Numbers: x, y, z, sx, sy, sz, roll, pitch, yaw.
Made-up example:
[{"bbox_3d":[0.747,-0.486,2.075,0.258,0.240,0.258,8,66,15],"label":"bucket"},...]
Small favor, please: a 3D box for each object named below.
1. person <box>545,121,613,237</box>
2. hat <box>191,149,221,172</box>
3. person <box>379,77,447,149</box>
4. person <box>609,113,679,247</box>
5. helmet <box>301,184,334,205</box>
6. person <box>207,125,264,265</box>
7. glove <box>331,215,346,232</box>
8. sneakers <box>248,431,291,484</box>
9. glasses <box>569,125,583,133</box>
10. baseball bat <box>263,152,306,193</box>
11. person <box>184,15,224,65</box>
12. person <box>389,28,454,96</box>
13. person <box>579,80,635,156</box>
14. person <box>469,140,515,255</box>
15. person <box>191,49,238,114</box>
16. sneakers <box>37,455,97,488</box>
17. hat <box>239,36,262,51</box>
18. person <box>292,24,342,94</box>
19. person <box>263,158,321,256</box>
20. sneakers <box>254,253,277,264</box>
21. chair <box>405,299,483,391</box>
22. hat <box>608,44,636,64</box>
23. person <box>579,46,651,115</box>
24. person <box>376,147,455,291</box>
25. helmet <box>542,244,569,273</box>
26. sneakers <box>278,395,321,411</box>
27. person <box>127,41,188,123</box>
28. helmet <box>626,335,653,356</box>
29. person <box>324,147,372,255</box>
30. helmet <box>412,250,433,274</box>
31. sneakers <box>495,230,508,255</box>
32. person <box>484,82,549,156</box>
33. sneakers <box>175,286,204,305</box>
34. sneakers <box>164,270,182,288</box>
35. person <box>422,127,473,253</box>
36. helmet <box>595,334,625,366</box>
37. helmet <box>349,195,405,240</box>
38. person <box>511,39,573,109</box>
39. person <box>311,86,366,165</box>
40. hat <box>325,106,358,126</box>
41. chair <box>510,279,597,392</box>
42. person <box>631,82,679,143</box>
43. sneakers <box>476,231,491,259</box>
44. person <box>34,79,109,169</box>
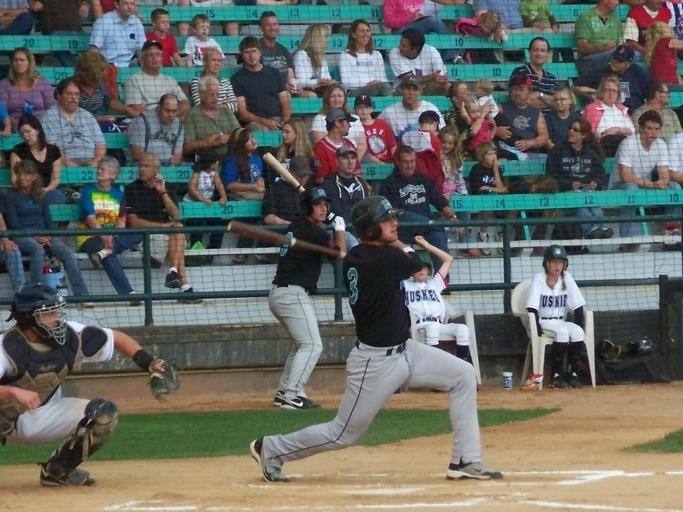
[{"bbox_3d":[3.200,-1.057,26.854,0.812,1.197,0.897,-2,-1,1],"label":"person"},{"bbox_3d":[-1.801,-1.284,26.318,0.310,0.298,0.248,-6,7,4],"label":"hat"},{"bbox_3d":[0.921,-1.951,27.349,1.103,1.045,0.562,-2,4,1],"label":"person"},{"bbox_3d":[4.130,-1.464,27.240,0.941,1.184,0.375,-2,-1,2],"label":"person"},{"bbox_3d":[-0.301,-0.743,23.939,0.301,0.151,0.217,-19,-8,33],"label":"helmet"},{"bbox_3d":[-1.173,-0.854,26.410,0.717,1.717,0.728,-5,0,28],"label":"person"},{"bbox_3d":[-0.025,-0.394,24.706,0.075,0.172,0.170,0,15,-39],"label":"glove"},{"bbox_3d":[-0.782,2.361,21.728,0.295,0.703,0.237,-24,9,17],"label":"sneakers"},{"bbox_3d":[3.197,-1.764,27.077,0.099,0.104,0.033,1,6,22],"label":"glasses"},{"bbox_3d":[-0.737,-1.070,25.518,0.833,0.116,0.122,43,-2,-5],"label":"baseball bat"},{"bbox_3d":[-1.919,-2.995,27.567,0.556,0.797,0.514,0,15,-6],"label":"person"},{"bbox_3d":[1.070,-2.772,28.101,0.996,1.083,0.863,-4,19,-7],"label":"person"},{"bbox_3d":[3.800,-1.856,27.648,0.757,1.369,0.762,1,-4,-18],"label":"person"},{"bbox_3d":[2.062,-0.860,27.046,0.761,1.409,0.532,7,-11,0],"label":"person"},{"bbox_3d":[-1.715,-2.408,26.805,0.642,0.914,0.557,-6,8,-33],"label":"person"},{"bbox_3d":[-2.986,2.413,21.533,0.540,0.266,0.296,-2,-5,3],"label":"sneakers"},{"bbox_3d":[-1.249,-2.933,27.000,0.193,0.195,0.241,-2,-5,-2],"label":"hat"},{"bbox_3d":[-0.343,-2.738,27.721,0.705,1.103,0.765,9,11,-2],"label":"person"},{"bbox_3d":[-0.604,-0.824,25.937,0.846,1.057,0.665,-5,14,-38],"label":"person"},{"bbox_3d":[-0.984,0.041,25.927,0.306,0.219,0.109,5,-2,7],"label":"sneakers"},{"bbox_3d":[1.088,1.205,25.542,1.000,1.274,0.893,-7,-11,44],"label":"chair"},{"bbox_3d":[3.961,-2.900,28.046,0.304,0.177,0.208,2,27,-40],"label":"hat"},{"bbox_3d":[3.918,-2.528,28.141,1.160,0.943,0.609,-2,8,3],"label":"person"},{"bbox_3d":[1.067,-0.582,26.082,1.107,1.857,1.065,-7,1,13],"label":"person"},{"bbox_3d":[2.759,0.019,25.549,0.250,0.302,0.339,0,-3,0],"label":"helmet"},{"bbox_3d":[-0.515,1.822,24.053,0.504,0.217,0.168,1,-3,-5],"label":"sneakers"},{"bbox_3d":[-2.518,-2.428,26.850,0.805,1.077,0.750,2,6,1],"label":"person"},{"bbox_3d":[3.876,1.220,25.781,0.326,0.169,0.117,-2,-1,4],"label":"helmet"},{"bbox_3d":[0.121,-0.721,25.681,0.775,1.518,0.890,0,-12,-11],"label":"person"},{"bbox_3d":[1.053,0.066,25.146,0.238,0.175,0.334,0,1,-4],"label":"helmet"},{"bbox_3d":[2.109,-0.172,26.340,0.103,0.261,0.185,2,-6,0],"label":"sneakers"},{"bbox_3d":[2.458,-1.885,27.631,0.821,1.345,0.828,3,3,-1],"label":"person"},{"bbox_3d":[-1.918,0.534,25.482,0.407,0.280,0.157,1,-1,-3],"label":"sneakers"},{"bbox_3d":[-2.168,0.311,25.555,0.197,0.239,0.075,-2,-1,-8],"label":"sneakers"},{"bbox_3d":[1.563,-0.927,26.702,0.496,1.664,0.652,-7,-5,-10],"label":"person"},{"bbox_3d":[3.460,1.259,25.698,0.343,0.338,0.270,-6,4,19],"label":"helmet"},{"bbox_3d":[0.373,-0.438,21.685,0.605,0.461,0.546,-14,6,-4],"label":"helmet"},{"bbox_3d":[2.791,-2.616,28.053,0.759,1.076,0.636,6,-4,-29],"label":"person"},{"bbox_3d":[-0.074,-1.825,26.837,0.736,1.082,0.644,0,-14,10],"label":"person"},{"bbox_3d":[-0.004,-1.896,26.474,0.344,0.179,0.224,-8,11,-19],"label":"hat"},{"bbox_3d":[2.778,0.928,25.646,0.963,1.165,0.939,6,14,16],"label":"chair"},{"bbox_3d":[4.345,-2.015,27.718,0.846,1.080,0.587,-5,7,-39],"label":"person"},{"bbox_3d":[1.894,-0.158,26.434,0.172,0.316,0.104,-4,-4,-21],"label":"sneakers"},{"bbox_3d":[-3.561,-1.752,26.377,0.864,1.239,0.843,2,9,-1],"label":"person"}]
